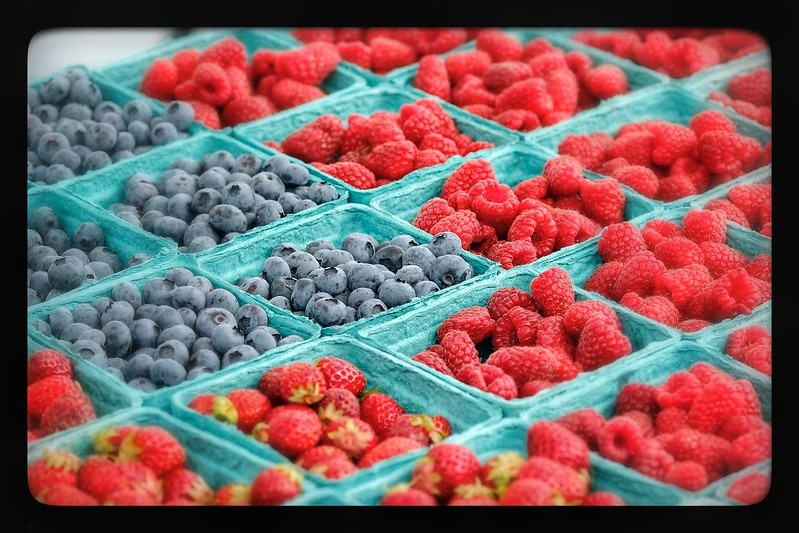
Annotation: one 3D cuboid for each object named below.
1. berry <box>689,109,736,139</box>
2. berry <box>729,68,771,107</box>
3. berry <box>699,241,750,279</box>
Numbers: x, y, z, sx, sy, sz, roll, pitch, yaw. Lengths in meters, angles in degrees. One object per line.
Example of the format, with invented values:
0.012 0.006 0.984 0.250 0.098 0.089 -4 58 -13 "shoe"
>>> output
1.061 -0.492 2.365 0.129 0.095 0.107 13 17 -21 "berry"
1.193 -0.617 2.387 0.164 0.117 0.203 -1 3 21 "berry"
0.973 -0.030 2.131 0.155 0.076 0.087 19 50 29 "berry"
